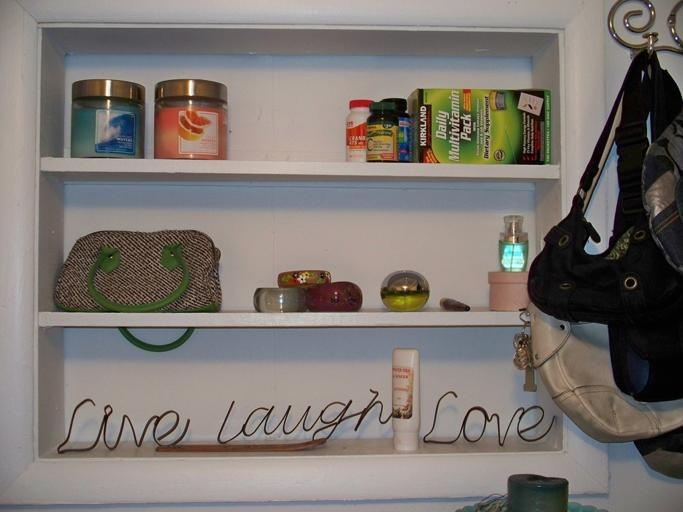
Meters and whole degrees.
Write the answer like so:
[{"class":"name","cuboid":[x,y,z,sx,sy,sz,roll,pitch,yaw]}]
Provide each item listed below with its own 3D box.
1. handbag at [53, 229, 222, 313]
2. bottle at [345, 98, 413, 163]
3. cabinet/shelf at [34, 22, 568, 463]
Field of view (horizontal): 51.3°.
[{"class":"handbag","cuboid":[-0.440,0.037,1.583,0.365,0.184,0.148,-1,4,-3]},{"class":"bottle","cuboid":[0.082,-0.271,1.542,0.147,0.136,0.071,-1,5,2]},{"class":"cabinet/shelf","cuboid":[-0.127,-0.014,1.579,0.900,0.718,0.279,1,0,-6]}]
